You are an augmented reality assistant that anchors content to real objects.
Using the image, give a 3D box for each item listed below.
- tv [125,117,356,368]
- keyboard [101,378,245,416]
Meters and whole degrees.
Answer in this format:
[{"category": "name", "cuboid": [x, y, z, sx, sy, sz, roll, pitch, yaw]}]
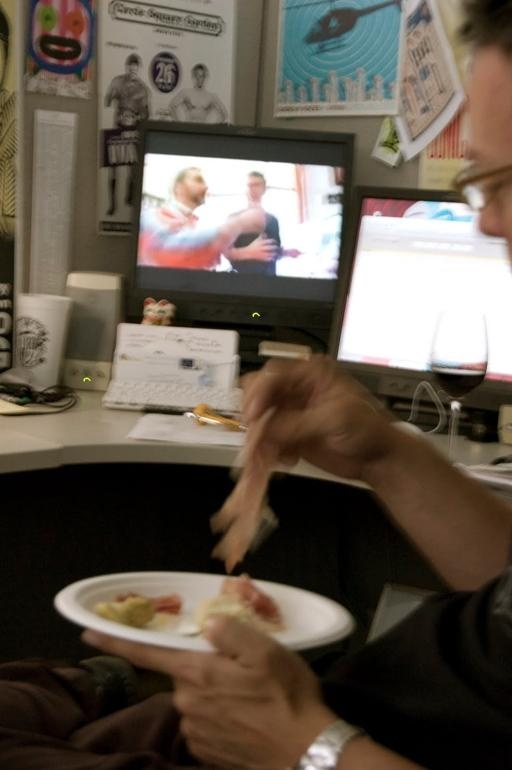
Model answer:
[{"category": "tv", "cuboid": [-0.028, -0.276, 1.191, 0.488, 0.534, 0.241, 4, 0, 1]}, {"category": "keyboard", "cuboid": [-0.148, 0.022, 1.033, 0.168, 0.022, 0.059, 3, 39, 1]}]
